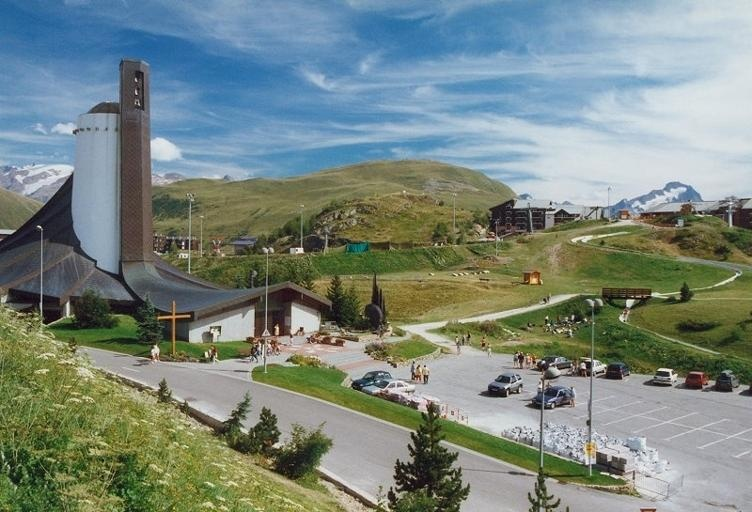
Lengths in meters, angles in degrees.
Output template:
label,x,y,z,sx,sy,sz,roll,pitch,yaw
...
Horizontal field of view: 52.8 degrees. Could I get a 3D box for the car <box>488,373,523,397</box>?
label,x,y,z,sx,sy,sz,roll,pitch,yaw
car,12.757,12.622,74.717,1.955,1.211,3.333,-5,-11,43
